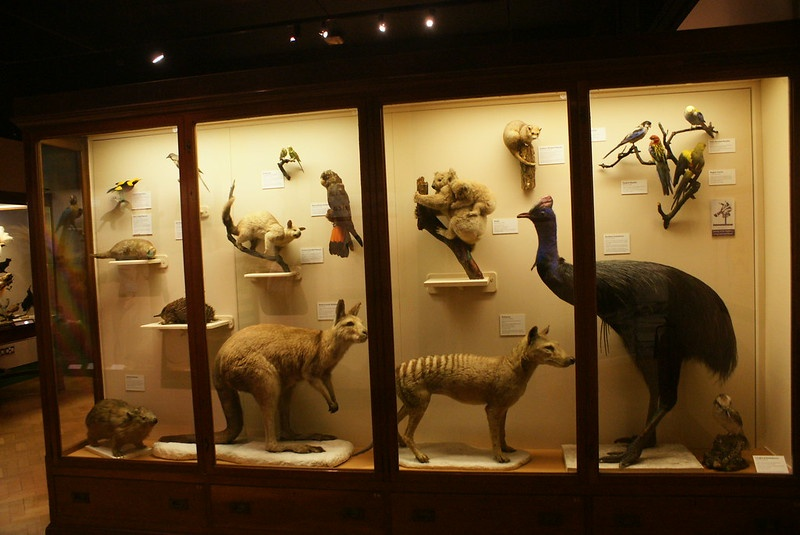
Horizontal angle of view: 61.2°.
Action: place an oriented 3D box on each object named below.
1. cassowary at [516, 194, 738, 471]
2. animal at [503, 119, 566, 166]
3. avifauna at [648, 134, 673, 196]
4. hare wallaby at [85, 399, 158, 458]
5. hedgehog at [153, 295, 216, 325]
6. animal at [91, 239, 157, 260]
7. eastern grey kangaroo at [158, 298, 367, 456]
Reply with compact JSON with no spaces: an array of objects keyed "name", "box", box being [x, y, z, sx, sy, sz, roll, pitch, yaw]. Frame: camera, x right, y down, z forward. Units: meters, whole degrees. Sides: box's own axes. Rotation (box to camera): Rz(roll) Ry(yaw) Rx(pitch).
[{"name":"cassowary","box":[1.659,0.442,4.864,1.435,1.787,0.566,2,2,13]},{"name":"animal","box":[0.904,-0.893,4.758,0.257,0.237,0.454,-17,38,-41]},{"name":"avifauna","box":[1.795,-0.690,4.698,0.121,0.483,0.169,0,-5,-26]},{"name":"hare wallaby","box":[-2.169,1.201,5.176,0.582,0.375,0.344,7,8,15]},{"name":"hedgehog","box":[-1.594,0.311,5.014,0.432,0.221,0.184,-4,-3,14]},{"name":"animal","box":[-2.062,-0.134,5.094,0.487,0.192,0.148,-3,1,3]},{"name":"eastern grey kangaroo","box":[-0.666,0.786,4.825,1.801,1.303,0.594,-1,1,3]}]
